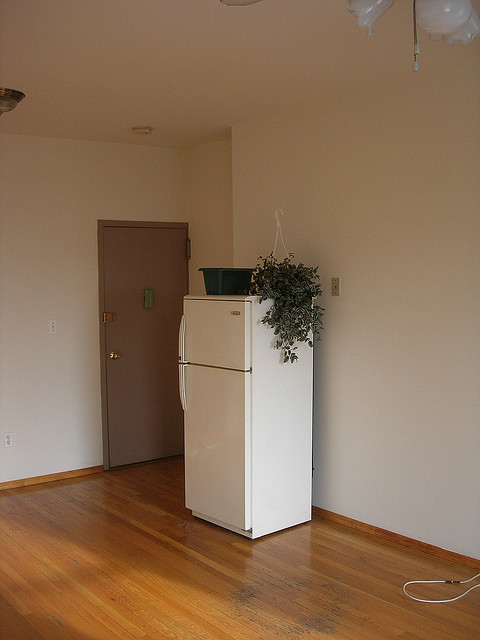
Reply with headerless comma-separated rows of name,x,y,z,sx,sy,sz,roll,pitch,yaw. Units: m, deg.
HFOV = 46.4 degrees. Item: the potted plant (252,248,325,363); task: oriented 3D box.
potted plant,0.298,-0.056,3.380,0.427,0.627,0.330,-1,0,-8
